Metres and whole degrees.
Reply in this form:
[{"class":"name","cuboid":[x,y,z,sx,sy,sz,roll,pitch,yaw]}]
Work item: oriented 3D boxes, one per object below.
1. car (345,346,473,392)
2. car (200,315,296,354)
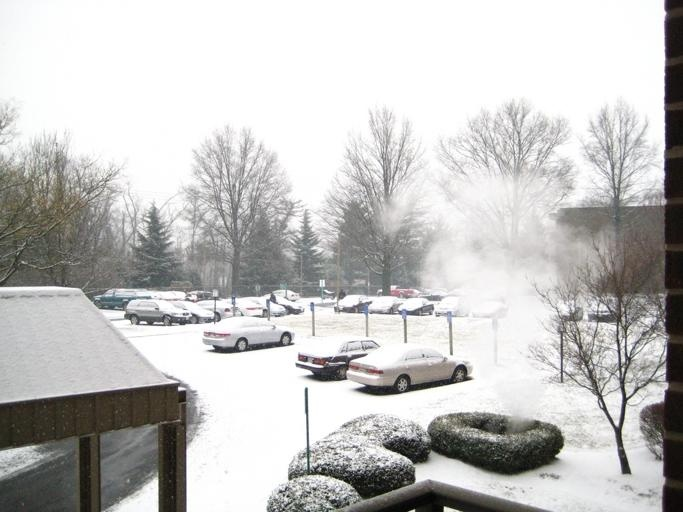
[{"class":"car","cuboid":[1.514,2.581,16.495,2.446,0.841,1.131,-4,3,-33]},{"class":"car","cuboid":[-3.066,2.474,22.135,2.521,0.925,1.159,-2,3,-41]}]
